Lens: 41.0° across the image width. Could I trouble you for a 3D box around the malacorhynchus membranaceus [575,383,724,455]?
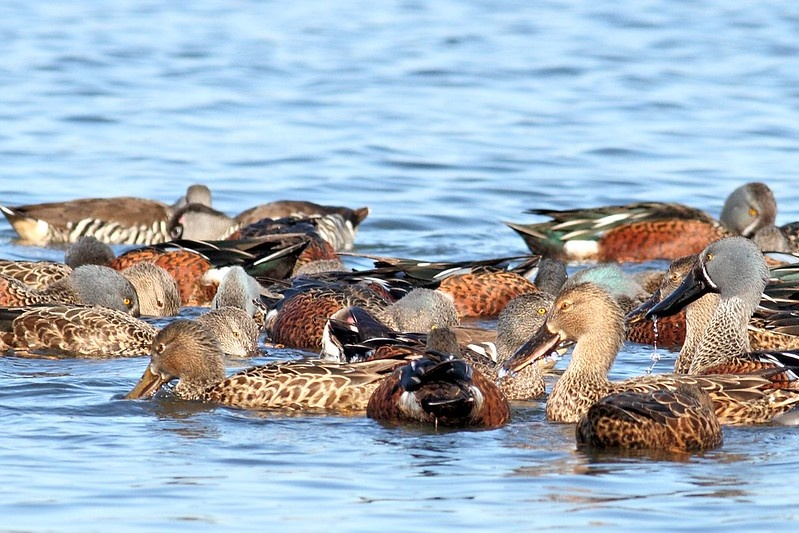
[{"bbox_3d":[1.890,1.188,8.128,1.025,0.267,0.516,1,2,-42],"label":"malacorhynchus membranaceus"}]
